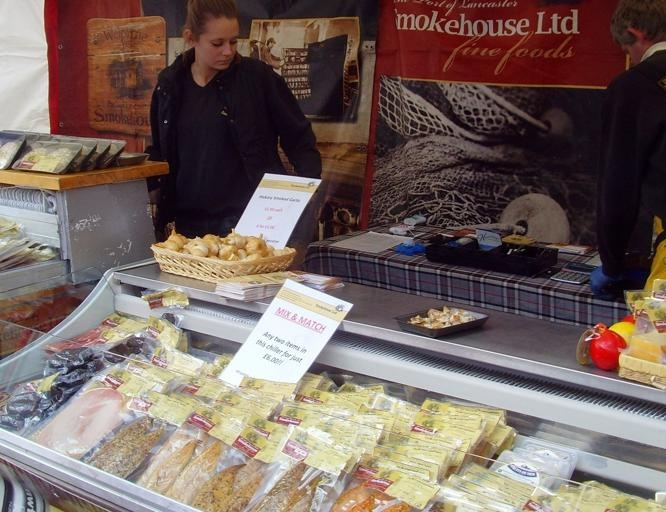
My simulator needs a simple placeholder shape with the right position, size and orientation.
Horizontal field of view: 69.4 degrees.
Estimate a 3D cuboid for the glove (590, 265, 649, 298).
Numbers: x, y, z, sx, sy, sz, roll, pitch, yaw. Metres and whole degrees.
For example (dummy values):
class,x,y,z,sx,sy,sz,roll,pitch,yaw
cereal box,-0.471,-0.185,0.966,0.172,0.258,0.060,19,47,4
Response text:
class,x,y,z,sx,sy,sz,roll,pitch,yaw
glove,1.079,0.096,1.855,0.192,0.108,0.252,16,21,41
